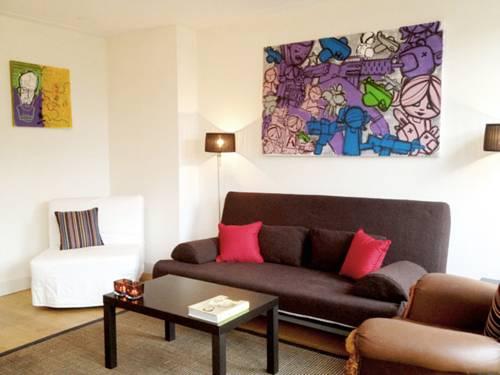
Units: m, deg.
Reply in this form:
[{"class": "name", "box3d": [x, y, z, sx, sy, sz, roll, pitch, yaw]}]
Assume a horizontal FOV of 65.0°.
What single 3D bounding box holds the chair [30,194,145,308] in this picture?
[{"class": "chair", "box3d": [-1.761, 0.676, 4.297, 1.192, 1.041, 1.189, -3, 5, -30]}]
